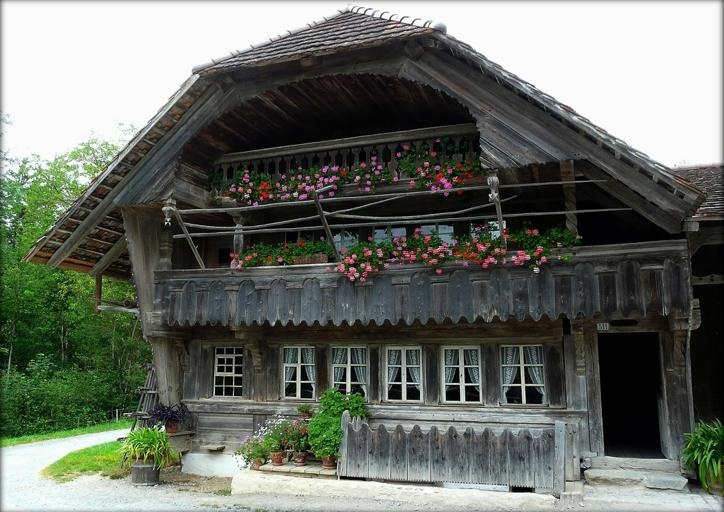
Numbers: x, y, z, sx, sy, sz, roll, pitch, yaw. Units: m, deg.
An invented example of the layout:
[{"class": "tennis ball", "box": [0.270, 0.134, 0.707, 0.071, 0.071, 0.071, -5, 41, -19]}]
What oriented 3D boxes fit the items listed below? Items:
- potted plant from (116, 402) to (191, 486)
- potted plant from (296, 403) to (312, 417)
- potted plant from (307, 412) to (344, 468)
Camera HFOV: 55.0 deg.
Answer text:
[{"class": "potted plant", "box": [-5.999, 5.400, 20.239, 2.079, 2.262, 1.925, 6, -13, -43]}, {"class": "potted plant", "box": [-1.694, 4.428, 19.895, 0.342, 0.354, 0.355, -14, -27, 34]}, {"class": "potted plant", "box": [-0.996, 5.013, 18.863, 1.114, 1.182, 1.180, 0, -21, 4]}]
